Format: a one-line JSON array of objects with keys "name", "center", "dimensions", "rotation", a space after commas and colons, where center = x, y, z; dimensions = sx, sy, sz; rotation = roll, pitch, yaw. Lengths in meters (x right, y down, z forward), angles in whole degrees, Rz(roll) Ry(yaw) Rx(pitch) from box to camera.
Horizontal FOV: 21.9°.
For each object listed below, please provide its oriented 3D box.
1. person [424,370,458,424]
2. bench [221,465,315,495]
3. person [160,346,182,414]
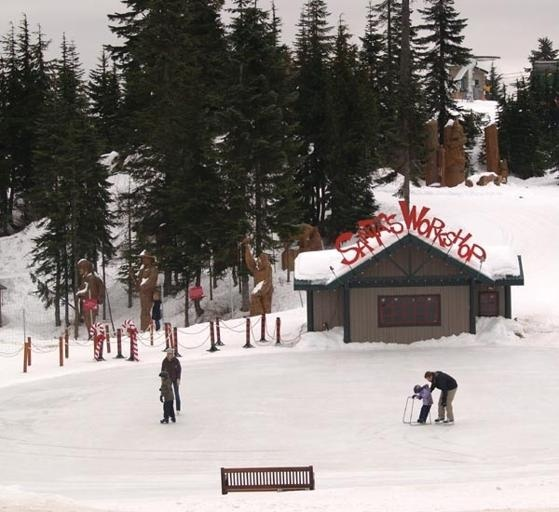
[{"name": "person", "center": [7.059, 6.114, 62.629], "dimensions": [1.454, 2.277, 0.931], "rotation": [1, -1, -15]}, {"name": "bench", "center": [-0.396, 8.779, 57.671], "dimensions": [3.653, 1.305, 1.432], "rotation": [-1, 15, 0]}, {"name": "person", "center": [-4.522, 5.400, 63.879], "dimensions": [0.777, 2.693, 1.003], "rotation": [-6, 11, -39]}]
